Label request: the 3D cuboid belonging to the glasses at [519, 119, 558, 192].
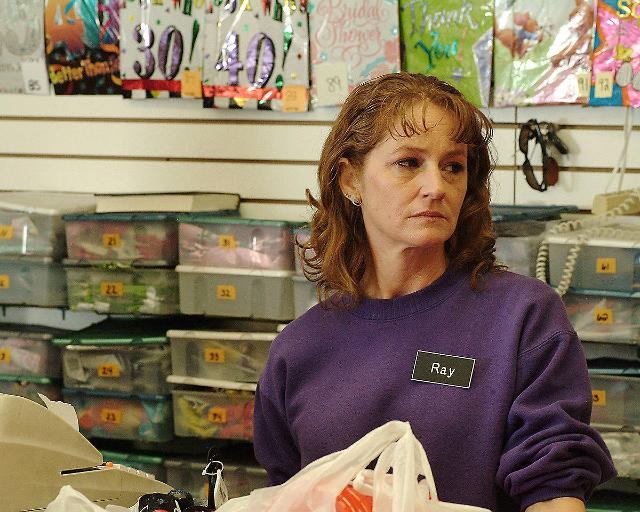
[{"bbox_3d":[0.917,-0.430,2.711,0.072,0.294,0.175,-8,4,-34],"label":"glasses"}]
